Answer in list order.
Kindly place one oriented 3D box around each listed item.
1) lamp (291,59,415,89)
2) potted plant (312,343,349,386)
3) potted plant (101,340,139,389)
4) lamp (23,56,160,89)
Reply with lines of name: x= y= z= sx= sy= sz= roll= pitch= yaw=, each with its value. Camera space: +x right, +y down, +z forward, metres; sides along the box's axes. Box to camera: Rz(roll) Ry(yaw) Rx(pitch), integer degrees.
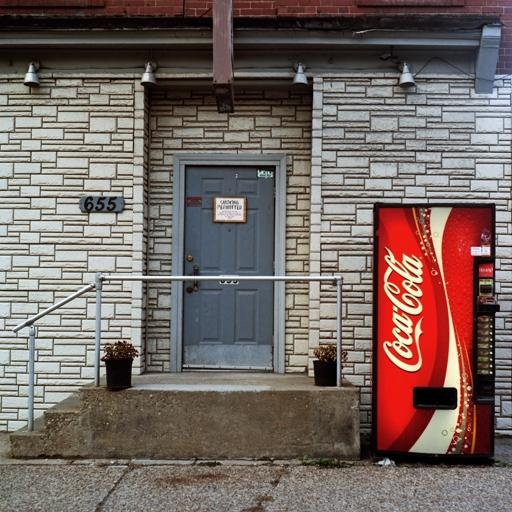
lamp: x=0.947 y=-1.779 z=8.538 sx=1.177 sy=0.241 sz=0.136 roll=1 pitch=-2 yaw=4
potted plant: x=0.624 y=0.954 z=7.747 sx=0.239 sy=0.354 sz=0.185 roll=1 pitch=-2 yaw=3
potted plant: x=-1.175 y=0.924 z=7.540 sx=0.388 sy=0.460 sz=0.352 roll=2 pitch=-10 yaw=-8
lamp: x=-1.640 y=-1.803 z=8.615 sx=1.319 sy=0.273 sz=0.158 roll=1 pitch=-2 yaw=2
